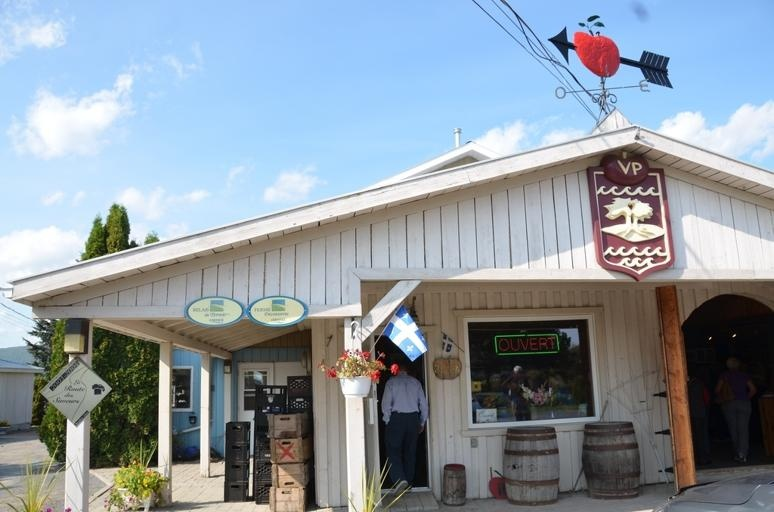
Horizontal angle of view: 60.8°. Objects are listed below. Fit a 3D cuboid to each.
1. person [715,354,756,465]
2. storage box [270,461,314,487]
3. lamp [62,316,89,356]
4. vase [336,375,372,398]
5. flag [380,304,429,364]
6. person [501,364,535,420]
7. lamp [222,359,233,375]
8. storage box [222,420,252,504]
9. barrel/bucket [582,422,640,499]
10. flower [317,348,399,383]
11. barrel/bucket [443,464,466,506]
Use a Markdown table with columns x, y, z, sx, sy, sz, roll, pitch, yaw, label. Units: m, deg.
| x | y | z | sx | sy | sz | roll | pitch | yaw | label |
| --- | --- | --- | --- | --- | --- | --- | --- | --- | --- |
| 6.963 | 3.071 | 13.246 | 0.652 | 2.014 | 0.930 | -5 | -4 | 43 | person |
| -1.667 | 3.768 | 11.442 | 0.512 | 0.234 | 0.394 | -4 | -18 | 3 | storage box |
| -4.495 | 1.176 | 9.649 | 0.346 | 0.544 | 0.252 | -1 | -3 | -19 | lamp |
| -0.450 | 1.903 | 9.577 | 0.450 | 0.327 | 0.165 | -2 | -3 | -3 | vase |
| 0.248 | 1.164 | 9.803 | 0.597 | 0.837 | 0.210 | -1 | -31 | -38 | flag |
| 2.393 | 2.501 | 12.072 | 0.450 | 0.994 | 0.119 | -2 | -3 | -16 | person |
| -3.782 | 2.657 | 15.812 | 0.189 | 0.344 | 0.060 | -3 | -3 | 18 | lamp |
| -2.726 | 3.766 | 12.111 | 0.476 | 1.384 | 0.401 | -2 | -3 | -15 | storage box |
| 3.946 | 3.578 | 11.733 | 0.956 | 1.304 | 0.925 | -3 | -5 | 0 | barrel/bucket |
| -0.422 | 1.686 | 9.802 | 0.772 | 0.429 | 1.042 | 1 | -22 | -5 | flower |
| 1.158 | 3.946 | 11.415 | 0.436 | 0.661 | 0.271 | -2 | -3 | 1 | barrel/bucket |
